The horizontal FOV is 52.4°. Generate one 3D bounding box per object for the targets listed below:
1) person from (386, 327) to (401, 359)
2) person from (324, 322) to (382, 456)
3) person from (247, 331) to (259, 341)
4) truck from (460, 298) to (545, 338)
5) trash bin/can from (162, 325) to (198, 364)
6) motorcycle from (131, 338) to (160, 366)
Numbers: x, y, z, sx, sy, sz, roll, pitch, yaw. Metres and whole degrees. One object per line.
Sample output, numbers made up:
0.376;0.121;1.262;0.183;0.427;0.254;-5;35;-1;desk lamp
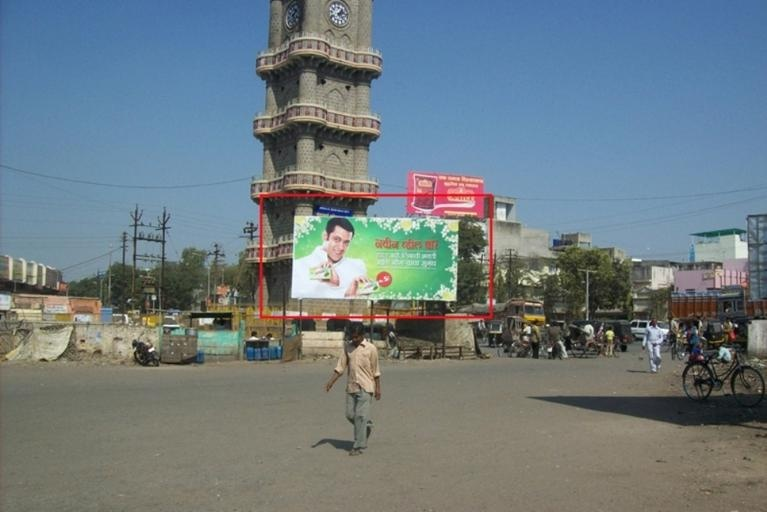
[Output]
0.494;4.810;43.044;0.845;1.258;0.577;-1;-7;32;person
-0.560;2.822;17.084;0.969;2.802;1.279;3;-6;-19;person
-7.814;4.749;46.332;0.792;0.365;0.791;-1;1;-35;person
9.383;4.798;62.718;2.436;2.987;7.902;4;-7;-35;truck
-10.232;4.460;38.831;1.777;1.730;1.198;2;-6;-12;trash bin/can
-11.321;4.612;37.268;1.404;0.965;0.893;2;3;39;motorcycle
